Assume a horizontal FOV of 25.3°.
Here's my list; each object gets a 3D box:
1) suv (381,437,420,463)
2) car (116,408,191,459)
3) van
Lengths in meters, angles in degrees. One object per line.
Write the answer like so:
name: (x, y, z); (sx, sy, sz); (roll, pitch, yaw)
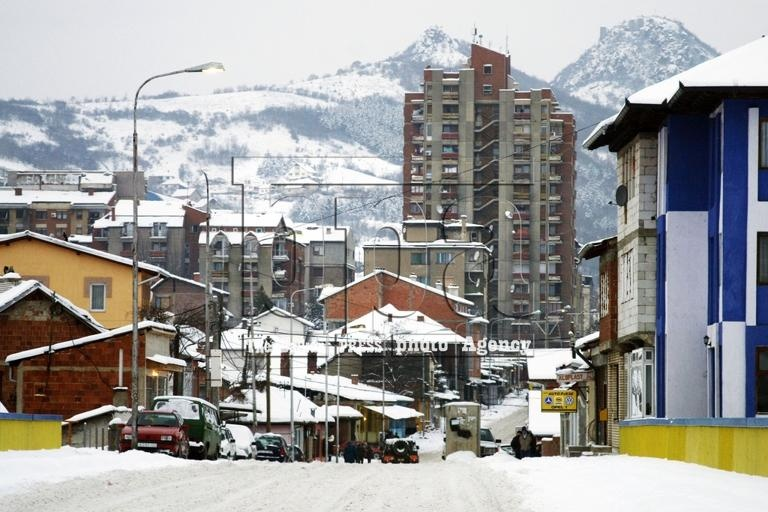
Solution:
suv: (1.130, 13.514, 120.317); (2.444, 1.480, 2.592); (-1, 1, 6)
car: (-12.801, 9.772, 95.699); (1.962, 2.386, 4.306); (0, -5, -7)
van: (-13.616, 9.779, 98.524); (3.853, 3.617, 8.517); (1, 3, -1)
